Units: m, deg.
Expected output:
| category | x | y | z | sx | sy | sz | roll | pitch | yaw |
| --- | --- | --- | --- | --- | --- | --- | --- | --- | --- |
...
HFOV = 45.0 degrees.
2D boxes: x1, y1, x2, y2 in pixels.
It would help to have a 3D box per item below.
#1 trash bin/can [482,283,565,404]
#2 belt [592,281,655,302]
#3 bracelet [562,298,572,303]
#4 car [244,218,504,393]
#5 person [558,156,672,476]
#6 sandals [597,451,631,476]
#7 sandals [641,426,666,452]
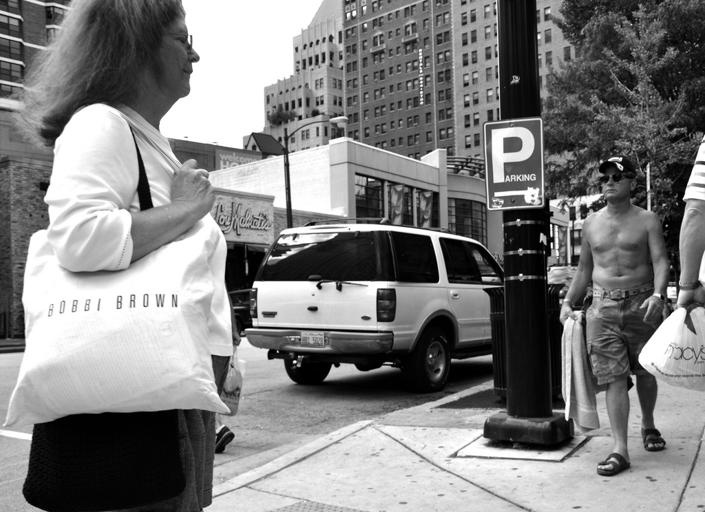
| category | x | y | z | sx | sy | sz | roll | pitch | yaw |
| --- | --- | --- | --- | --- | --- | --- | --- | --- | --- |
| trash bin/can | 1.837 | 0.921 | 9.205 | 1.150 | 1.430 | 1.136 | -1 | -7 | 5 |
| belt | 1.985 | 0.261 | 6.244 | 0.427 | 0.144 | 0.159 | -4 | -1 | 16 |
| bracelet | 1.617 | 0.331 | 6.431 | 0.044 | 0.040 | 0.075 | 3 | -1 | 26 |
| car | 0.509 | 0.521 | 11.008 | 1.750 | 1.438 | 3.335 | -3 | -2 | 31 |
| person | 1.948 | 0.344 | 6.242 | 0.696 | 2.371 | 0.799 | -4 | -1 | -19 |
| sandals | 1.741 | 1.394 | 5.697 | 0.103 | 0.109 | 0.284 | -8 | -13 | 34 |
| sandals | 2.209 | 1.322 | 6.239 | 0.160 | 0.176 | 0.215 | -4 | -1 | 18 |
